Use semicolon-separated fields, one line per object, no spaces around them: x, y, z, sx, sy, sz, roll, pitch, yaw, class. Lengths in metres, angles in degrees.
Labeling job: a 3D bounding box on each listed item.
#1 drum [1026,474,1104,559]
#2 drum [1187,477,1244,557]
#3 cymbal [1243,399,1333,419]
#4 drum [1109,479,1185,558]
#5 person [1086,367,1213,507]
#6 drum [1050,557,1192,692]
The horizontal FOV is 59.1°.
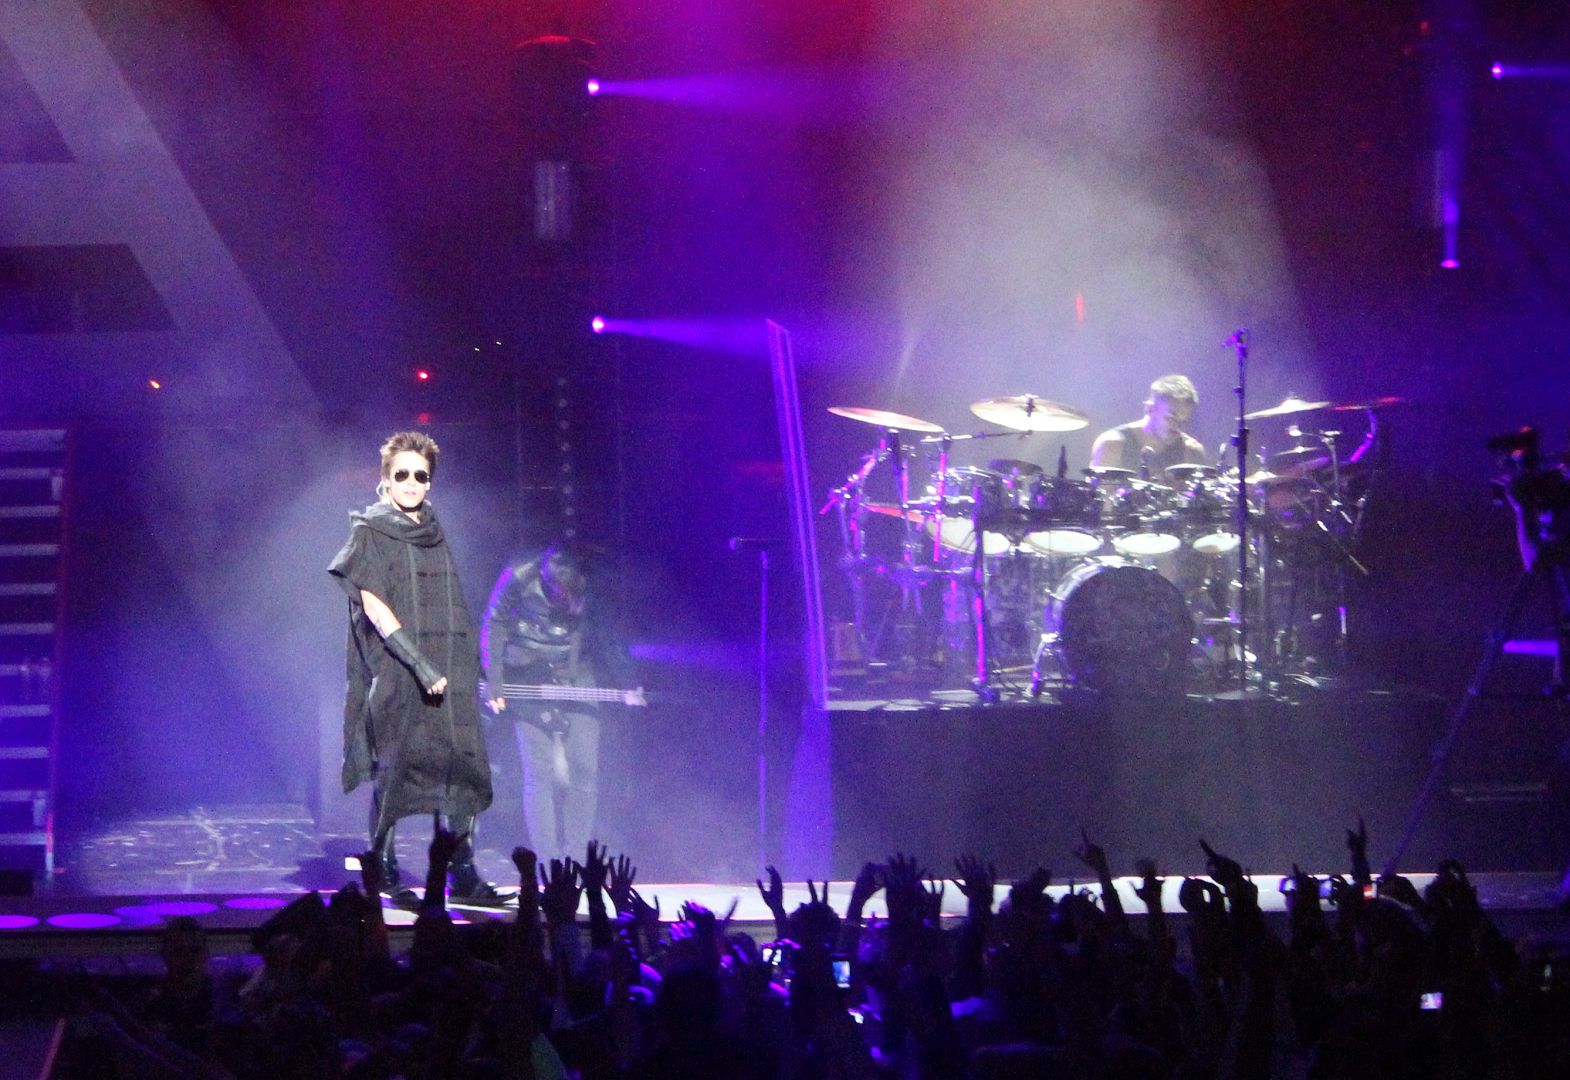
1.808;-0.144;9.070;0.522;0.538;0.504;0;-5;1;drum
2.844;-0.152;9.076;0.422;0.465;0.420;1;0;-12;drum
3.606;-0.929;9.851;0.297;0.072;0.290;-10;-1;-26;cymbal
2.337;-0.149;9.038;0.487;0.482;0.444;-4;-14;11;drum
2.634;-0.739;9.882;1.032;1.059;0.618;5;4;-11;person
2.040;0.533;8.504;0.747;0.739;0.728;12;6;5;drum
